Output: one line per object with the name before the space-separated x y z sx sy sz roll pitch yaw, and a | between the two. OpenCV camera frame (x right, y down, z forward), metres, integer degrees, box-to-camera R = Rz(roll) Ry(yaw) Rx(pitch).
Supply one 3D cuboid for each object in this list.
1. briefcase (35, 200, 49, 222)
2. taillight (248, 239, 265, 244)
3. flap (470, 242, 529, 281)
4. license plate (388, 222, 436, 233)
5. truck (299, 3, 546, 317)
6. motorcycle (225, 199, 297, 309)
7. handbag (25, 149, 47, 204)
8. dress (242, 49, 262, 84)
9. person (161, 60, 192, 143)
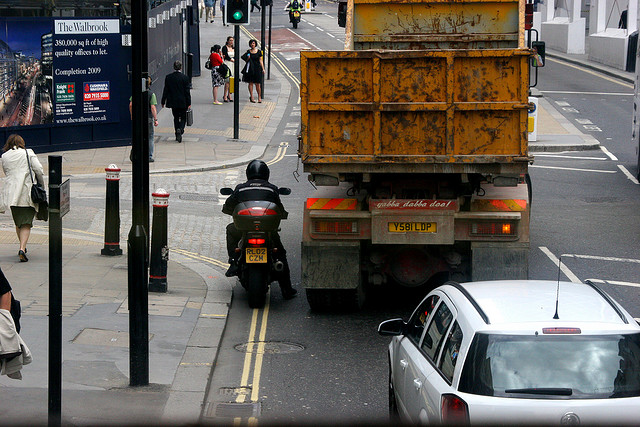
briefcase | -4.763 -0.039 13.143 0.209 0.410 0.318 4 6 13
taillight | -0.962 0.438 11.576 0.245 0.064 0.024 1 13 3
flap | 2.689 0.671 11.276 0.762 0.766 0.538 0 25 24
license plate | 1.297 0.212 10.873 0.670 0.147 0.031 1 13 4
truck | 1.545 -1.441 13.353 3.297 3.713 5.792 -1 13 -1
motorcycle | -0.969 0.505 12.385 1.075 1.743 2.733 0 -11 -4
handbag | -4.919 -0.591 13.310 0.251 0.890 0.315 -5 14 -23
dress | -2.752 -5.887 31.470 0.761 1.383 1.197 -1 14 -6
person | -4.606 -3.489 24.679 0.818 2.568 0.706 -2 13 -10
